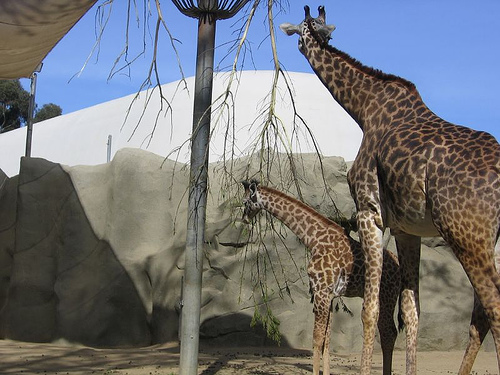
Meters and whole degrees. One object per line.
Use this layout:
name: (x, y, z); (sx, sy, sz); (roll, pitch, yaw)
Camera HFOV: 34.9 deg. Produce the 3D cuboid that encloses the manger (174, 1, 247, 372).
manger: (-0.933, -0.100, 14.383); (0.624, 6.697, 1.562); (3, -11, -3)
